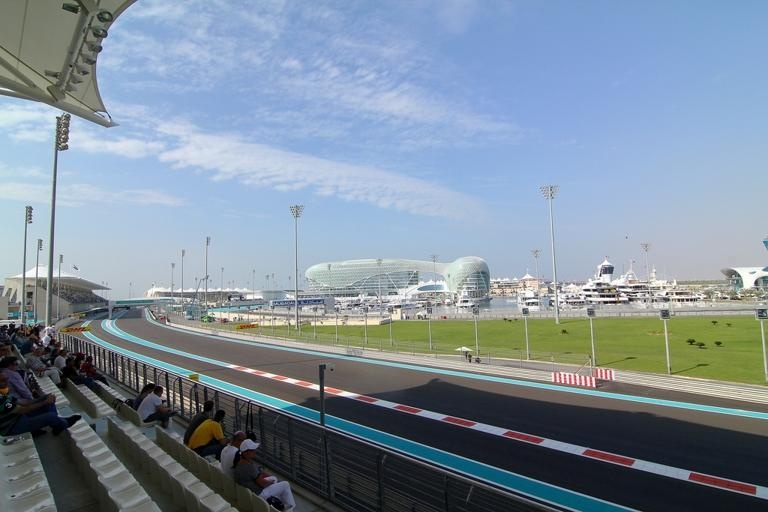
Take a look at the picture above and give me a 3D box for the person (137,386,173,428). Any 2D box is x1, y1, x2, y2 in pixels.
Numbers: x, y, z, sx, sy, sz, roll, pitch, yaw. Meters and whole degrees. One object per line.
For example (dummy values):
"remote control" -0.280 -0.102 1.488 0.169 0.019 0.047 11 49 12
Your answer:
"person" -6.664 4.426 14.876 0.826 1.119 0.971 -6 -8 36

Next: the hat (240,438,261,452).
"hat" -3.318 4.678 12.726 0.406 0.131 0.247 -1 2 -30
